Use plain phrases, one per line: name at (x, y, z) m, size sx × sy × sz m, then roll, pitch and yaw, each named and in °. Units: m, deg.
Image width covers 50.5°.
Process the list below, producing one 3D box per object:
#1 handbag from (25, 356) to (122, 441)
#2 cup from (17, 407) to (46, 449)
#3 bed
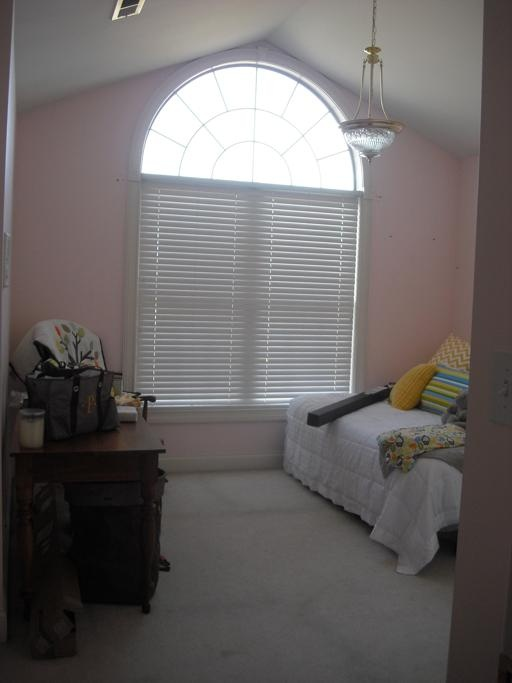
handbag at (-0.684, 0.199, 2.109) m, size 0.174 × 0.315 × 0.311 m, roll 21°, pitch 20°, yaw 39°
cup at (-0.788, 0.300, 1.899) m, size 0.085 × 0.129 × 0.096 m, roll 1°, pitch 2°, yaw -22°
bed at (0.648, 0.653, 2.841) m, size 0.518 × 0.297 × 0.811 m, roll -5°, pitch 9°, yaw -26°
